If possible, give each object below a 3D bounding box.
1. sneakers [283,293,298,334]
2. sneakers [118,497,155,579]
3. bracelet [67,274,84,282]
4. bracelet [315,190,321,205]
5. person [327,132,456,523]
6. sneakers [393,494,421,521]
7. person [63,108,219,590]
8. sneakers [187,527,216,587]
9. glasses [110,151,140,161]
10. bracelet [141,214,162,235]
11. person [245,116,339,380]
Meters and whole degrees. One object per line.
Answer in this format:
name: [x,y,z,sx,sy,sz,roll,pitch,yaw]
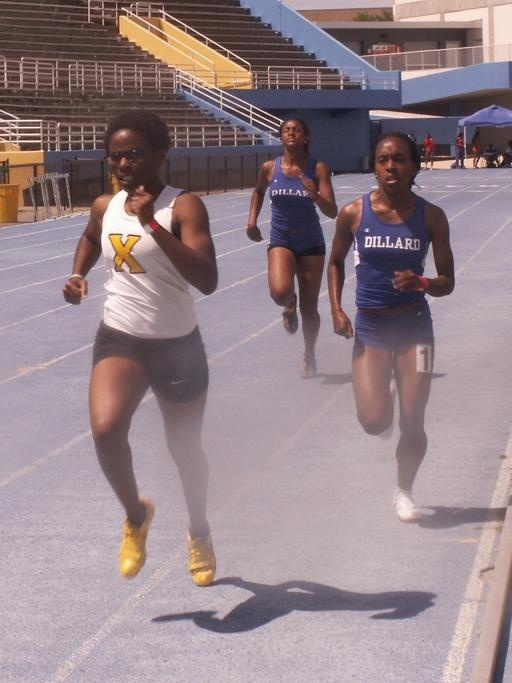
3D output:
sneakers: [0.314,-0.224,5.923,0.121,0.313,0.137,-4,17,-3]
sneakers: [-0.355,0.595,2.155,0.102,0.237,0.111,8,-13,13]
bracelet: [-0.609,-0.216,2.342,0.045,0.027,0.038,0,-1,6]
bracelet: [0.440,-1.029,5.003,0.078,0.083,0.035,-1,-20,9]
person: [0.489,-0.058,2.807,0.537,1.515,0.453,0,6,28]
sneakers: [0.590,0.652,2.755,0.084,0.112,0.115,-2,5,4]
person: [-0.329,0.062,2.136,0.382,1.492,0.574,-3,5,-13]
sneakers: [-0.171,0.677,2.224,0.072,0.182,0.078,-4,-39,0]
glasses: [-0.369,-0.521,1.966,0.046,0.011,0.042,-3,3,6]
bracelet: [-0.272,-0.313,1.847,0.055,0.042,0.040,-5,1,5]
person: [0.289,-0.800,5.562,0.652,2.173,1.378,-2,5,0]
